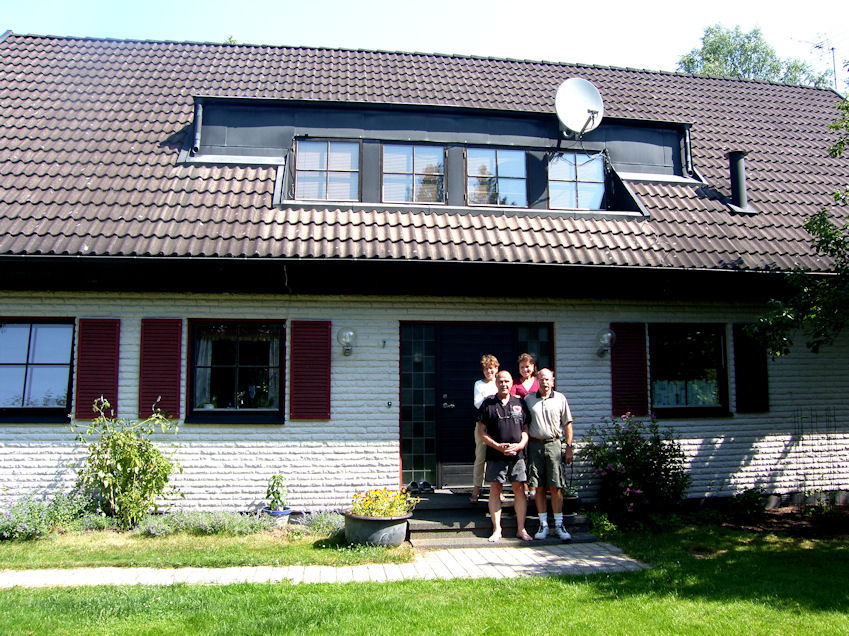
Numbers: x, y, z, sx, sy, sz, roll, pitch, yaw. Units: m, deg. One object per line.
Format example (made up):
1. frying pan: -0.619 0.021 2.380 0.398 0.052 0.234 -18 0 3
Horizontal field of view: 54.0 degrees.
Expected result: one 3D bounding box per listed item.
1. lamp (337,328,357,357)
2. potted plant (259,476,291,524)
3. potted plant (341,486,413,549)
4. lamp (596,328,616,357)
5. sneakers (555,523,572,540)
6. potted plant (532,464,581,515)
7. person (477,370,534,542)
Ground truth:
1. lamp: -1.351 0.434 14.578 0.311 0.473 0.144 -1 7 -14
2. potted plant: -2.552 3.153 14.148 0.544 0.855 0.485 4 -19 -42
3. potted plant: -0.734 3.270 13.365 1.104 0.903 1.079 8 -10 -38
4. lamp: 3.326 0.460 15.226 0.316 0.512 0.162 -2 7 -23
5. sneakers: 2.253 3.474 13.478 0.269 0.227 0.189 2 7 8
6. potted plant: 2.447 2.818 14.626 0.377 0.892 0.399 -15 12 -14
7. person: 1.295 2.218 13.364 0.783 2.736 0.796 -1 -3 -3
